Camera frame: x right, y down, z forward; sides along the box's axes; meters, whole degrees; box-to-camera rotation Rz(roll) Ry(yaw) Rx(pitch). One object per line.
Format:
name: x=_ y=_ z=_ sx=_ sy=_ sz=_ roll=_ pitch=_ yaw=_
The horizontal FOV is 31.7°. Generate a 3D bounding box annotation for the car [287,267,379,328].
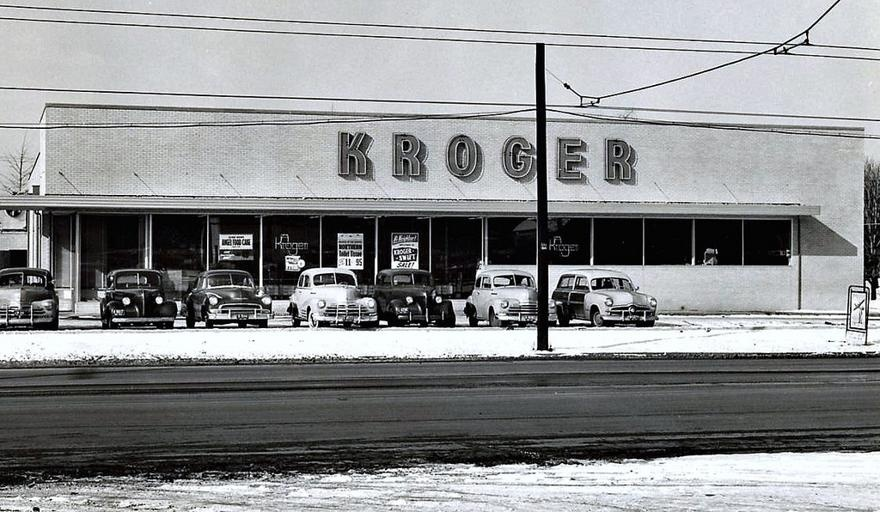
car: x=-4.504 y=1.588 z=63.523 sx=3.032 sy=1.983 sz=5.001 roll=-4 pitch=5 yaw=-22

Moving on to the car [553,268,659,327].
car: x=6.795 y=1.688 z=65.288 sx=2.811 sy=1.934 sz=5.103 roll=-1 pitch=3 yaw=-24

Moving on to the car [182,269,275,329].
car: x=-8.445 y=1.685 z=61.952 sx=3.291 sy=2.390 sz=1.655 roll=-1 pitch=-6 yaw=-6

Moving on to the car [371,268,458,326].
car: x=-1.363 y=1.548 z=64.317 sx=2.621 sy=1.980 sz=4.575 roll=0 pitch=7 yaw=-19
